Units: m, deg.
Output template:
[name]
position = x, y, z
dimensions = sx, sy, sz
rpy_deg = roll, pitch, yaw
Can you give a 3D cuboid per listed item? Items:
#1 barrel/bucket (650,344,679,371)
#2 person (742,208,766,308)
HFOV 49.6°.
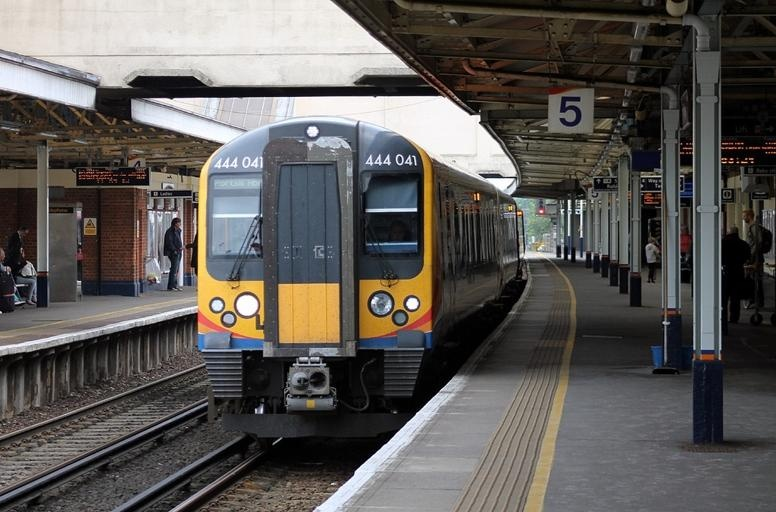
[barrel/bucket]
position = 4.677, 1.732, 14.144
dimensions = 0.381, 0.492, 0.481
rpy_deg = 0, 0, 11
[person]
position = 8.970, -0.076, 20.534
dimensions = 0.598, 2.134, 0.895
rpy_deg = -1, 1, 16
